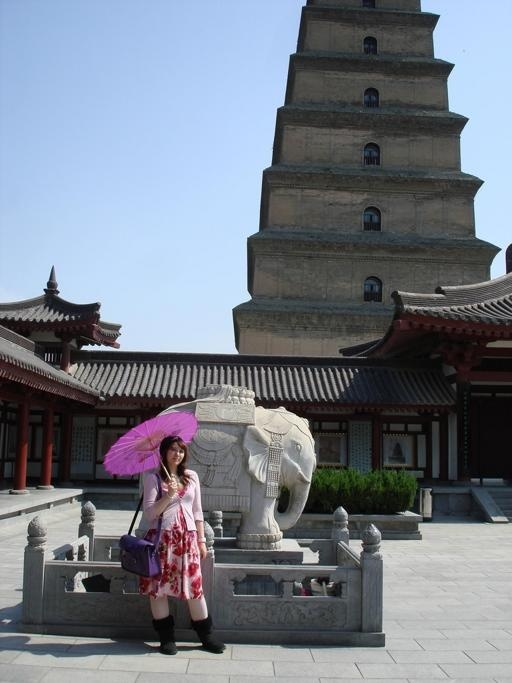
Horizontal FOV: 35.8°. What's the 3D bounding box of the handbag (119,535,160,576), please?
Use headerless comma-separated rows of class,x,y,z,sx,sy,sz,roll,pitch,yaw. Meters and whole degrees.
handbag,-0.788,1.411,5.200,0.300,0.271,0.145,-4,-9,18

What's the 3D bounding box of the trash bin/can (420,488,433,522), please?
trash bin/can,2.864,2.769,13.422,0.248,0.573,0.608,0,-3,2

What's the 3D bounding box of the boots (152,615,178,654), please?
boots,-0.614,1.943,5.312,0.155,0.232,0.299,0,-9,-7

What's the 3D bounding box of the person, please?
person,-0.499,1.358,5.356,0.556,1.425,0.308,1,-9,-10

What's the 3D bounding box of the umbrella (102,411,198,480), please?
umbrella,-0.798,0.732,5.982,0.525,0.524,0.539,41,31,29

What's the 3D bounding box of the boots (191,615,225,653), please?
boots,-0.325,1.966,5.283,0.121,0.222,0.326,2,-12,-34

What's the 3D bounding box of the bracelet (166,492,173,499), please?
bracelet,-0.579,1.020,5.268,0.045,0.042,0.010,0,-8,-13
